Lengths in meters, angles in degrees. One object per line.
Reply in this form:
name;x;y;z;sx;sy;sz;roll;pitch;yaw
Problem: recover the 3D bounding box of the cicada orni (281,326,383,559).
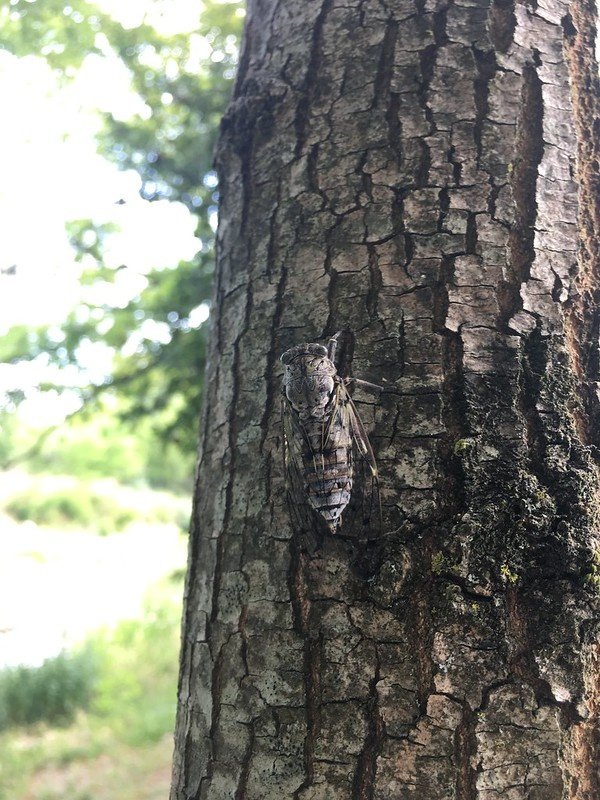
cicada orni;0.102;0.185;5.760;0.414;0.651;0.210;-3;-11;17
